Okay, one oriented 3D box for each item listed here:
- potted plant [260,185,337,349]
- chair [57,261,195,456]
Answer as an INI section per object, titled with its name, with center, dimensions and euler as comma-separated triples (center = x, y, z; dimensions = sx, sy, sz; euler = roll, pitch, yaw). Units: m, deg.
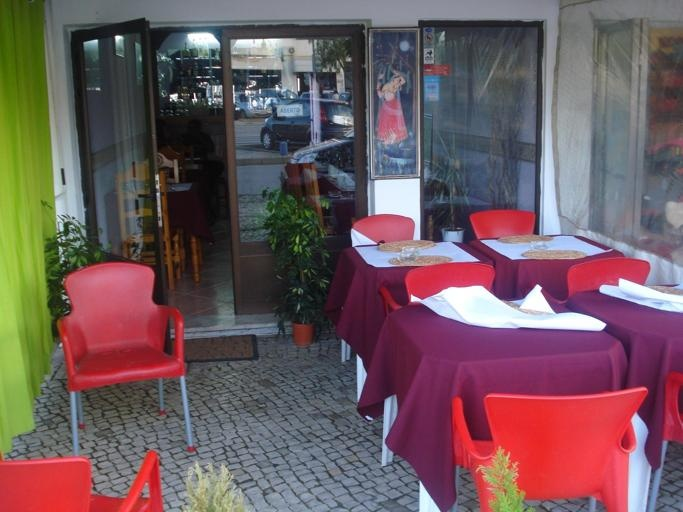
[potted plant]
center = -0.372, 0.098, 4.878
dimensions = 0.621, 1.263, 0.815
euler = -6, 15, -8
[chair]
center = -1.324, 0.643, 3.280
dimensions = 0.801, 1.025, 0.845
euler = 1, 9, -10
